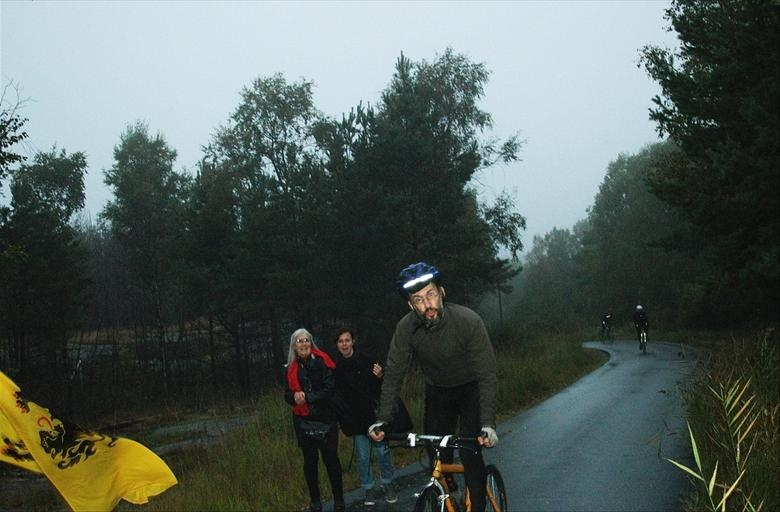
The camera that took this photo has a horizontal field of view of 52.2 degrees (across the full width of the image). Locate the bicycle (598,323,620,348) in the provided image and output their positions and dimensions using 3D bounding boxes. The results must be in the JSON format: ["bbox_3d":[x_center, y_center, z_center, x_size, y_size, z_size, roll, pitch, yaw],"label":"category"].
[{"bbox_3d":[13.770,4.918,50.290,0.661,1.018,1.655,0,-28,8],"label":"bicycle"}]
